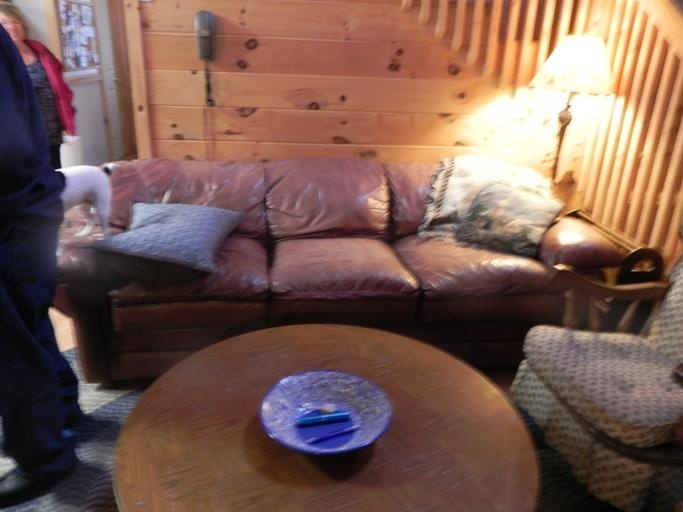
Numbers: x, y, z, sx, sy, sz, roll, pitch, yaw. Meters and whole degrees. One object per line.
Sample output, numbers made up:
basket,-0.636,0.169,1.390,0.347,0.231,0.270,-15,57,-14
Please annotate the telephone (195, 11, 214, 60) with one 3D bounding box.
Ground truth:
telephone,-0.812,-1.312,3.281,0.104,0.277,0.063,-2,28,-12

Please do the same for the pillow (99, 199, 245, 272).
pillow,-0.863,-0.098,2.690,0.490,0.107,0.418,9,20,14

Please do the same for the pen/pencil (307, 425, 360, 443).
pen/pencil,-0.026,0.573,1.768,0.210,0.017,0.020,-6,36,-27
